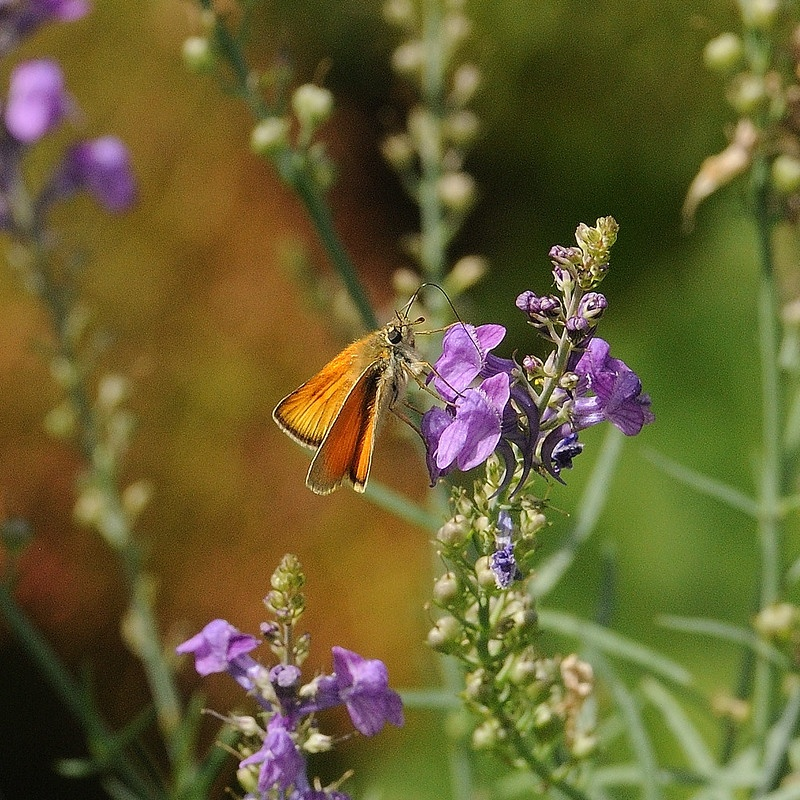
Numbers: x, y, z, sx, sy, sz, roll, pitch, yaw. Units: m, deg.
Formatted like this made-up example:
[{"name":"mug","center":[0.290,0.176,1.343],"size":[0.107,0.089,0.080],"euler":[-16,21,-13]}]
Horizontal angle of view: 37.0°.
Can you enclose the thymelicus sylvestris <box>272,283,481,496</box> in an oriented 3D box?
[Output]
[{"name":"thymelicus sylvestris","center":[-0.018,-0.005,2.054],"size":[0.165,0.305,0.364],"euler":[39,81,19]}]

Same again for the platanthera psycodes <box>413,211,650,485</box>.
[{"name":"platanthera psycodes","center":[0.166,-0.052,1.653],"size":[0.320,0.353,0.236],"euler":[-17,25,-9]}]
